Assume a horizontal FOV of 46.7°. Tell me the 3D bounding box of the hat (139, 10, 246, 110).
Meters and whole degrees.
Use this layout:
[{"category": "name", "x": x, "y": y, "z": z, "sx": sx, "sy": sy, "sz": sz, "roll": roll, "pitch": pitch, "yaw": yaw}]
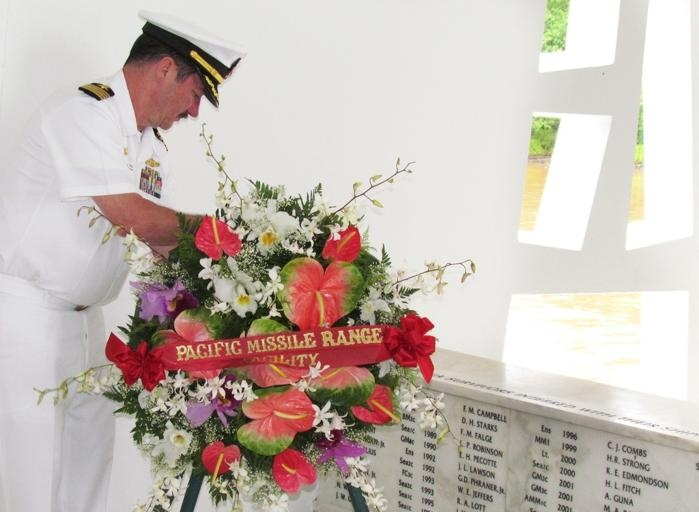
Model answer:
[{"category": "hat", "x": -0.531, "y": -0.708, "z": 2.820, "sx": 0.332, "sy": 0.185, "sz": 0.292, "roll": 41, "pitch": 8, "yaw": 4}]
